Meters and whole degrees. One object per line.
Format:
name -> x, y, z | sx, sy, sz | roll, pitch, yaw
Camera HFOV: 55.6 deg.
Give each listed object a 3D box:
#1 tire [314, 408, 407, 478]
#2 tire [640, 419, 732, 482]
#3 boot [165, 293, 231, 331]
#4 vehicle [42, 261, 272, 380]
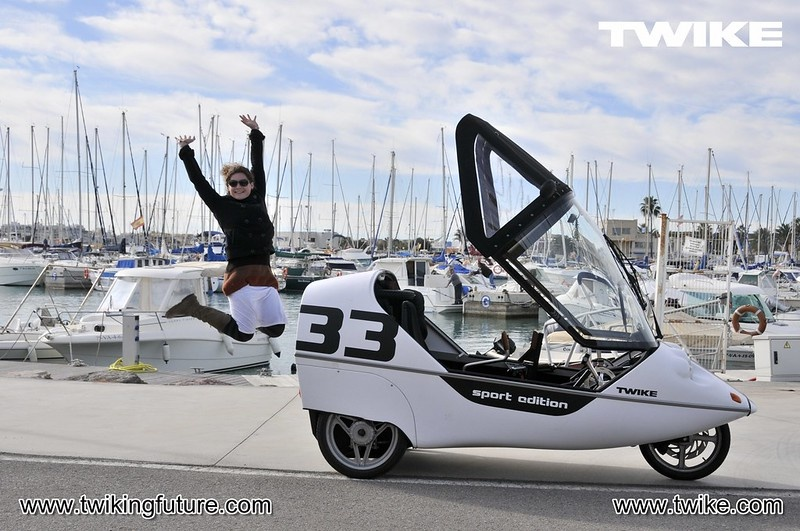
tire -> -0.452, 1.956, 8.466 | 0.745, 0.711, 0.281 | 6, -7, 5
tire -> 3.175, 2.051, 8.480 | 0.791, 0.758, 0.154 | 0, 7, 4
boot -> -2.569, 0.699, 9.879 | 1.010, 0.304, 0.470 | 16, 8, 34
vehicle -> -5.857, 1.441, 19.708 | 5.578, 2.228, 2.627 | -1, 4, -30
